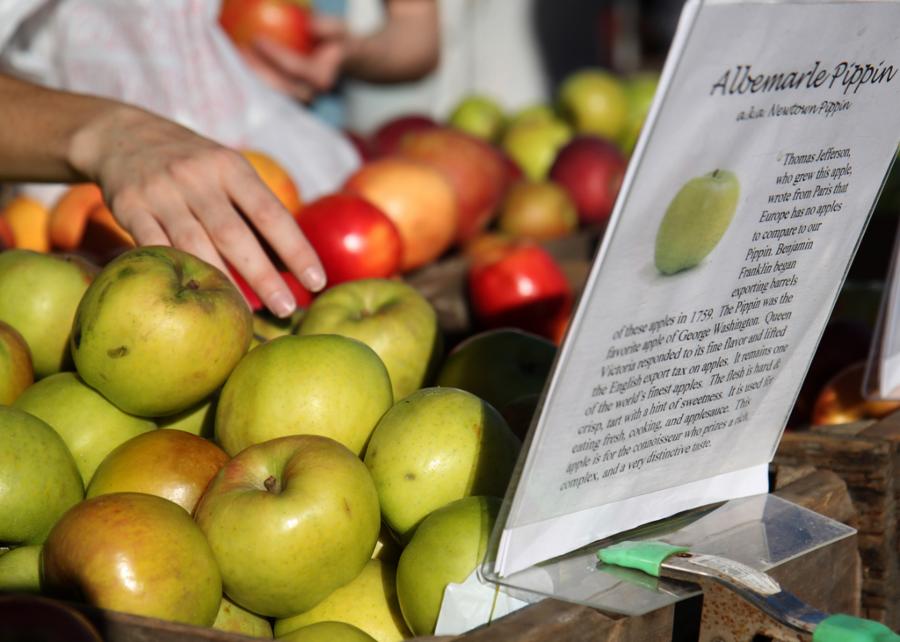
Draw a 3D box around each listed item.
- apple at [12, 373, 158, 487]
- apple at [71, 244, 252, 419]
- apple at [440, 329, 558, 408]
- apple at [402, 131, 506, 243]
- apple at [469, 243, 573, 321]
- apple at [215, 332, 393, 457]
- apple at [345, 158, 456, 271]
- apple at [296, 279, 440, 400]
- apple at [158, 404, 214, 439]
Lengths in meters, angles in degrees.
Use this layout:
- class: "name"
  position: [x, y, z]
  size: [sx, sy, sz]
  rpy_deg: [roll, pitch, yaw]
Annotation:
- class: "apple"
  position: [-0.499, 0.144, 1.269]
  size: [0.144, 0.177, 0.142]
  rpy_deg: [6, -22, -45]
- class: "apple"
  position: [-0.395, 0.025, 1.247]
  size: [0.209, 0.220, 0.213]
  rpy_deg: [19, 21, -17]
- class: "apple"
  position: [0.070, 0.093, 1.455]
  size: [0.154, 0.138, 0.131]
  rpy_deg: [4, 33, -23]
- class: "apple"
  position: [-0.015, -0.298, 2.236]
  size: [0.271, 0.232, 0.296]
  rpy_deg: [-9, 0, -21]
- class: "apple"
  position: [0.122, -0.092, 2.005]
  size: [0.169, 0.175, 0.177]
  rpy_deg: [-4, 1, 14]
- class: "apple"
  position: [-0.185, 0.095, 1.227]
  size: [0.171, 0.182, 0.170]
  rpy_deg: [14, 2, 12]
- class: "apple"
  position: [-0.105, -0.221, 1.871]
  size: [0.166, 0.170, 0.202]
  rpy_deg: [43, 17, 11]
- class: "apple"
  position: [-0.121, 0.007, 1.432]
  size: [0.184, 0.192, 0.196]
  rpy_deg: [7, 17, -6]
- class: "apple"
  position: [-0.373, 0.124, 1.287]
  size: [0.053, 0.053, 0.054]
  rpy_deg: [-22, 10, 6]
